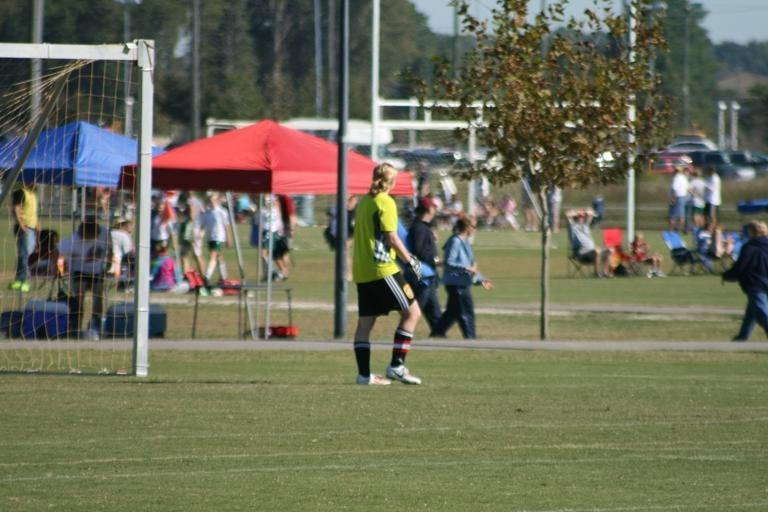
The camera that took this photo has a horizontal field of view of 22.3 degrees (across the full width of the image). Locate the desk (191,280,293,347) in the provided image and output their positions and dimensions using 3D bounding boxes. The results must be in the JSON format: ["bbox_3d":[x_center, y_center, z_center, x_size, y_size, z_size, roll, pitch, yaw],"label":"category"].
[{"bbox_3d":[-3.085,1.220,40.962,1.687,1.381,2.225,0,-2,-1],"label":"desk"}]

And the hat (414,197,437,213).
[{"bbox_3d":[0.833,-1.017,38.892,0.398,0.200,0.238,-13,15,-18],"label":"hat"}]

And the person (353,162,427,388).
[{"bbox_3d":[0.026,0.346,35.874,1.245,4.073,0.793,0,1,4],"label":"person"}]
